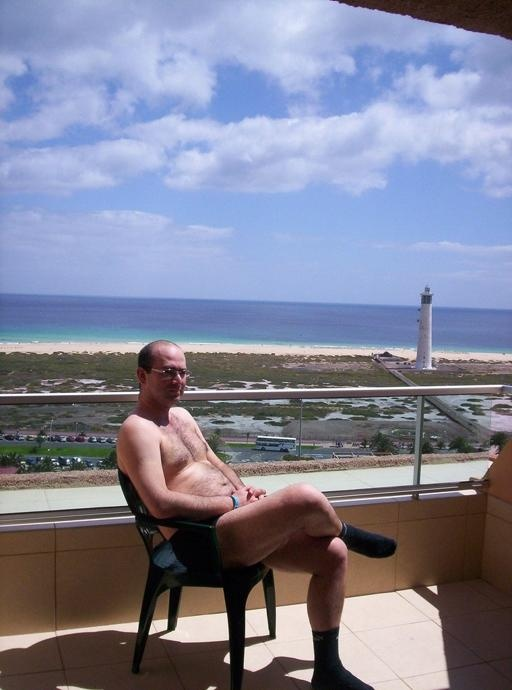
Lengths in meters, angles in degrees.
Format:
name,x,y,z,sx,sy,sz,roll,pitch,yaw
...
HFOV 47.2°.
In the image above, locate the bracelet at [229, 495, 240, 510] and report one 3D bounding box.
name,x,y,z,sx,sy,sz,roll,pitch,yaw
bracelet,-0.069,0.508,1.893,0.012,0.030,0.029,-30,-42,17
